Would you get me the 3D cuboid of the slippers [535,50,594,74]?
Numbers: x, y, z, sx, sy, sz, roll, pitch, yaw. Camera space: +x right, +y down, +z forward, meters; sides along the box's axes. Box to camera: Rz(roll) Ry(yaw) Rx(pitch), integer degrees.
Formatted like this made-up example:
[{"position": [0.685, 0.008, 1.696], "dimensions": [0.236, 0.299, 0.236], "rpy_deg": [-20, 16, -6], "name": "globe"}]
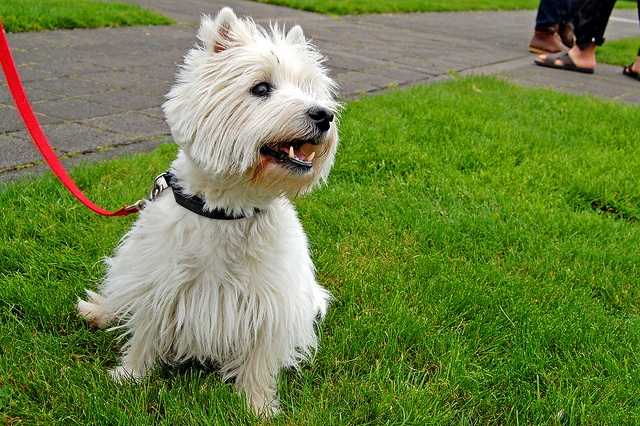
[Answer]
[{"position": [4.072, -2.551, 10.446], "dimensions": [0.915, 0.305, 0.341], "rpy_deg": [10, 6, 6], "name": "slippers"}]
